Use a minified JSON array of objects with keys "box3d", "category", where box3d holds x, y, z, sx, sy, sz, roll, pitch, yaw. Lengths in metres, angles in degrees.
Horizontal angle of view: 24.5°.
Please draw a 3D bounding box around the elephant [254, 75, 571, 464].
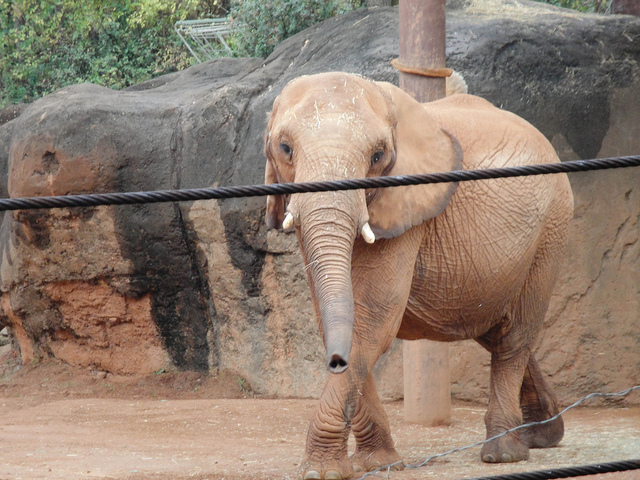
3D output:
[{"box3d":[0.812,0.286,13.993,2.948,3.732,1.807,-10,9,-44],"category":"elephant"}]
